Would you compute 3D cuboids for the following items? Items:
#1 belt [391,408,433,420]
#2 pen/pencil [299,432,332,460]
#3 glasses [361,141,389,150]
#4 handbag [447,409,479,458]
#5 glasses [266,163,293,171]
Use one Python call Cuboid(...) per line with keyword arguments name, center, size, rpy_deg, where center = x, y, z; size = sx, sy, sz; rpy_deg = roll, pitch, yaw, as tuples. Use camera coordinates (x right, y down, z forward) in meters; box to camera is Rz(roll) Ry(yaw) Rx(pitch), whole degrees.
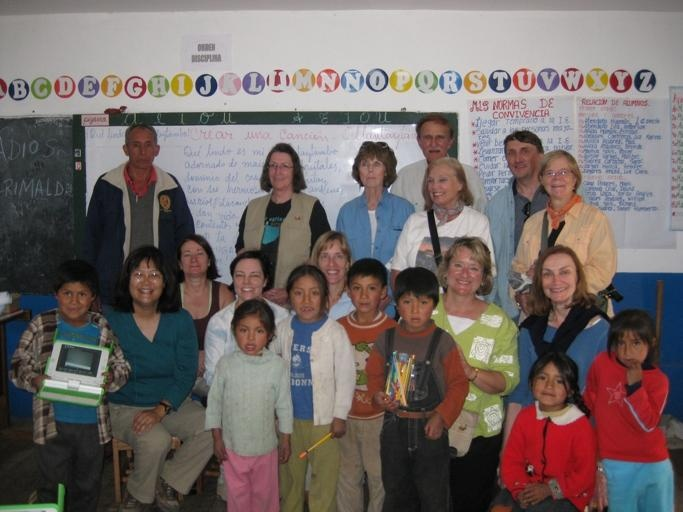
Cuboid(name="belt", center=(0.400, 0.885, 3.626), size=(0.226, 0.047, 0.027), rpy_deg=(1, 5, 12))
Cuboid(name="pen/pencil", center=(-0.141, 1.127, 3.861), size=(0.266, 0.029, 0.027), rpy_deg=(-38, -26, 14))
Cuboid(name="glasses", center=(0.265, -0.856, 4.982), size=(0.197, 0.083, 0.381), rpy_deg=(0, 5, 5))
Cuboid(name="handbag", center=(0.700, 1.012, 3.702), size=(0.074, 0.192, 0.243), rpy_deg=(9, 14, -6))
Cuboid(name="glasses", center=(-0.446, -0.669, 4.814), size=(0.171, 0.047, 0.047), rpy_deg=(0, 5, 0))
